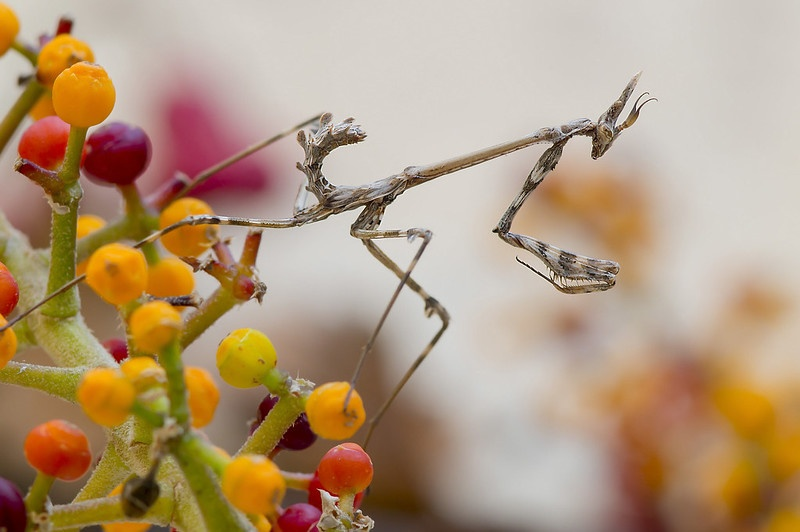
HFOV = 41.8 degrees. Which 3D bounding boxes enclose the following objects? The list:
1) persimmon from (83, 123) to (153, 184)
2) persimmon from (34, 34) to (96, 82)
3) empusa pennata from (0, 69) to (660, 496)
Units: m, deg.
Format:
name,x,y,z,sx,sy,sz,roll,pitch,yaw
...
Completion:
name,x,y,z,sx,sy,sz,roll,pitch,yaw
persimmon,-0.319,-0.126,1.186,0.054,0.070,0.069,-145,-144,-69
persimmon,-0.399,-0.239,1.250,0.061,0.058,0.069,0,-43,-28
empusa pennata,-0.050,-0.084,1.321,0.609,0.413,0.428,23,13,6
